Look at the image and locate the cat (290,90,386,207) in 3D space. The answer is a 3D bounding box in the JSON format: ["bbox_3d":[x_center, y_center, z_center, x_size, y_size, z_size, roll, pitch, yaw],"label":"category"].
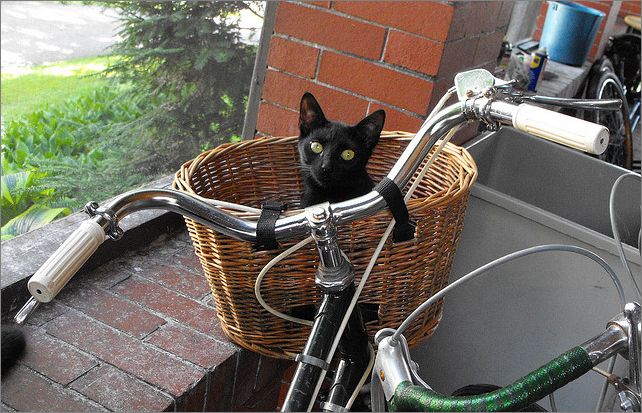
[{"bbox_3d":[0.103,-0.185,1.722,0.281,0.330,0.337,5,17,13],"label":"cat"}]

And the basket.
[{"bbox_3d":[0.006,0.168,1.599,0.813,0.444,0.683,-1,24,0],"label":"basket"}]
